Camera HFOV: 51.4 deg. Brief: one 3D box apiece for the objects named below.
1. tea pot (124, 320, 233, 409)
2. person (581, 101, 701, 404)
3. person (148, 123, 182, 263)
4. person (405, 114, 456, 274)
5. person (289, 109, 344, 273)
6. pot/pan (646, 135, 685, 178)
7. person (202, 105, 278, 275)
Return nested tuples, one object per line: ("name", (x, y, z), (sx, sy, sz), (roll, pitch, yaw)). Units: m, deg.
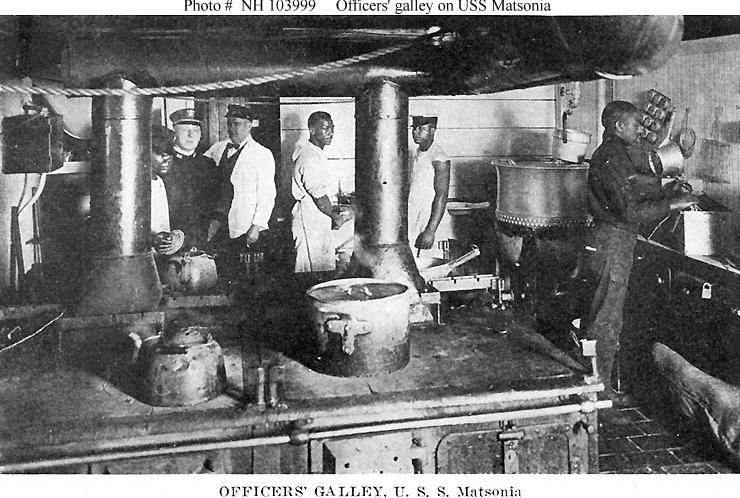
("tea pot", (-1.298, 0.730, 5.237), (0.566, 0.379, 0.556), (0, 6, 0))
("person", (2.339, -0.014, 7.001), (1.007, 2.597, 0.743), (-12, 16, -40))
("person", (-2.105, -0.573, 7.860), (0.293, 1.321, 0.321), (-5, 12, -13))
("person", (0.670, -0.666, 8.537), (0.482, 1.557, 1.016), (-1, 12, 5))
("person", (-0.578, -0.609, 8.259), (0.572, 1.680, 0.495), (-3, 12, -6))
("pot/pan", (2.755, -0.861, 7.157), (0.261, 0.321, 0.304), (-15, 21, -24))
("person", (-1.435, -0.836, 8.226), (0.657, 0.443, 1.449), (-7, 44, -12))
